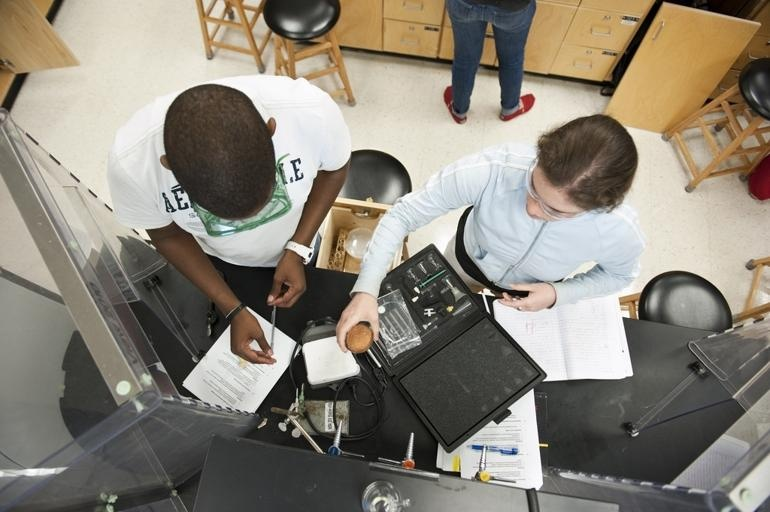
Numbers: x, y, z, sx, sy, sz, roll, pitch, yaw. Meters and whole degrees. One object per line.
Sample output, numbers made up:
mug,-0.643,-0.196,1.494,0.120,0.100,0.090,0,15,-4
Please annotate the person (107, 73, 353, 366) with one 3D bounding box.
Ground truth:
person,-0.587,-0.312,2.192,0.813,0.929,0.938,37,63,18

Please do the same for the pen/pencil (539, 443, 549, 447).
pen/pencil,0.671,0.797,2.176,0.059,0.016,0.012,-4,67,3

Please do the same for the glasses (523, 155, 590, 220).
glasses,0.694,-0.275,2.105,0.193,0.114,0.253,47,75,-7

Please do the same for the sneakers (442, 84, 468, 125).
sneakers,0.524,-1.141,3.941,0.123,0.125,0.336,-15,83,3

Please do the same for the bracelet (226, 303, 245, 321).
bracelet,-0.651,0.255,2.277,0.051,0.088,0.091,38,64,2

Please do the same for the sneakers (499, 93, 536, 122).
sneakers,1.030,-1.119,3.957,0.297,0.111,0.163,-34,87,-4
